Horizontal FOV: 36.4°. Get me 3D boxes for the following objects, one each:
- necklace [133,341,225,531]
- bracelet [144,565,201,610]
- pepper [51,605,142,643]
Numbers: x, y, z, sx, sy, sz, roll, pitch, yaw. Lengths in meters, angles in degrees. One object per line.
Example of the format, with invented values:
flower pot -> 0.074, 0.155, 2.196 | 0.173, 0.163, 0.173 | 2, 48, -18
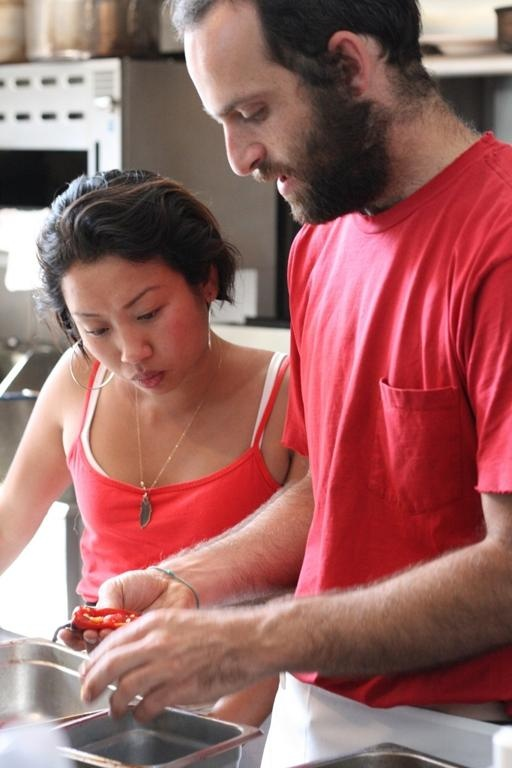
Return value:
necklace -> -0.154, 0.089, 1.456 | 0.121, 0.345, 0.027 | 9, -27, 10
bracelet -> -0.108, 0.266, 1.054 | 0.061, 0.016, 0.048 | 40, 46, 25
pepper -> -0.196, 0.286, 0.953 | 0.116, 0.048, 0.054 | 2, 18, -6
